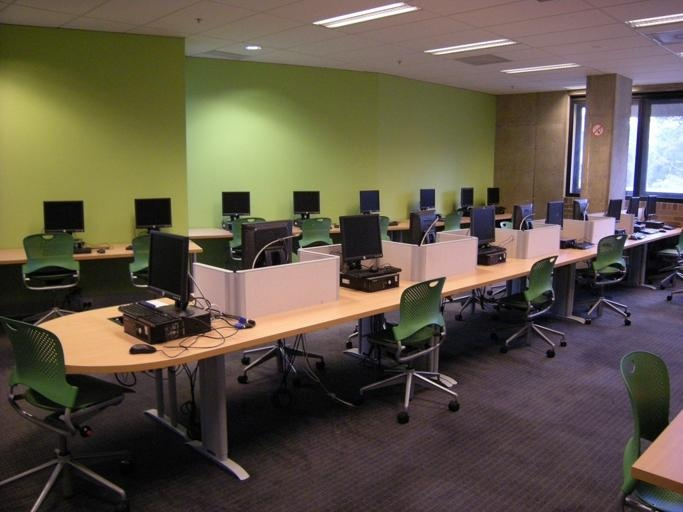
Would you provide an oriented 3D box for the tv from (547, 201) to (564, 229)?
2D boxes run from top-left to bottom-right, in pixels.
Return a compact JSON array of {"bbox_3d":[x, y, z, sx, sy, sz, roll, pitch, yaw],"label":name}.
[{"bbox_3d":[2.762,-0.526,6.804,0.433,0.455,0.051,-5,10,-34],"label":"tv"}]

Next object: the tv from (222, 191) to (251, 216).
[{"bbox_3d":[-1.623,-0.803,7.989,0.393,0.353,0.145,-2,7,-23],"label":"tv"}]

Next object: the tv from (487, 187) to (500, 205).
[{"bbox_3d":[3.301,-1.313,11.481,0.541,0.424,0.071,-7,11,-35],"label":"tv"}]

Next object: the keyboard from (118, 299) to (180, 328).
[{"bbox_3d":[-1.297,0.385,3.576,0.184,0.061,0.285,-13,24,-42],"label":"keyboard"}]

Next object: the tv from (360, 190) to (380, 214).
[{"bbox_3d":[0.479,-0.951,9.184,0.535,0.485,0.184,-2,4,-25],"label":"tv"}]

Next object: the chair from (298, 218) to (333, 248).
[{"bbox_3d":[-0.406,-0.359,7.664,0.422,0.623,0.481,-4,11,-23],"label":"chair"}]

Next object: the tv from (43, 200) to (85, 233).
[{"bbox_3d":[-3.361,-0.478,6.322,0.437,0.398,0.150,-3,4,-30],"label":"tv"}]

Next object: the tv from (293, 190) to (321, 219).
[{"bbox_3d":[-0.590,-0.853,8.598,0.584,0.528,0.191,-1,5,-10],"label":"tv"}]

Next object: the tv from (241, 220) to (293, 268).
[{"bbox_3d":[-0.603,-0.092,4.249,0.376,0.318,0.119,-9,19,-38],"label":"tv"}]

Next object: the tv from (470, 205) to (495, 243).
[{"bbox_3d":[1.538,-0.341,5.754,0.060,0.383,0.449,-2,1,42],"label":"tv"}]

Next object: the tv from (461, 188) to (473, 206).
[{"bbox_3d":[2.636,-1.256,11.102,0.405,0.343,0.052,-6,9,-38],"label":"tv"}]

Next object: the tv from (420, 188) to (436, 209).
[{"bbox_3d":[1.655,-1.121,10.211,0.443,0.385,0.058,-5,9,-33],"label":"tv"}]

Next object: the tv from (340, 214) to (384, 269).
[{"bbox_3d":[0.172,-0.122,4.756,0.493,0.452,0.169,-9,7,-39],"label":"tv"}]
